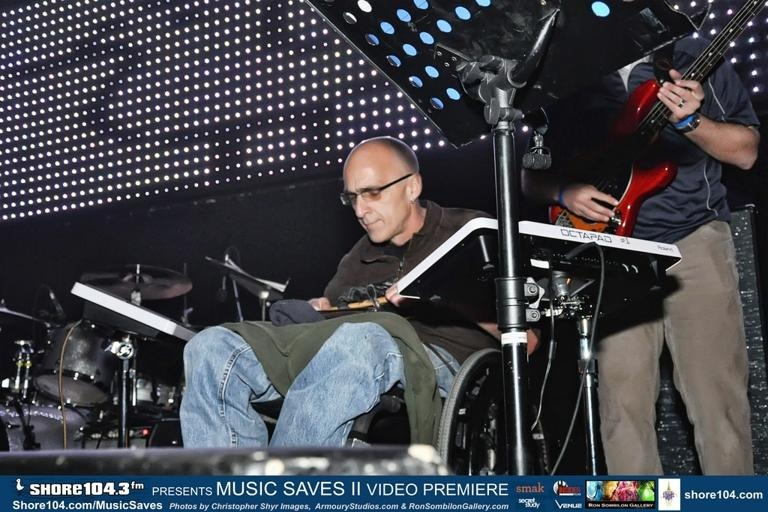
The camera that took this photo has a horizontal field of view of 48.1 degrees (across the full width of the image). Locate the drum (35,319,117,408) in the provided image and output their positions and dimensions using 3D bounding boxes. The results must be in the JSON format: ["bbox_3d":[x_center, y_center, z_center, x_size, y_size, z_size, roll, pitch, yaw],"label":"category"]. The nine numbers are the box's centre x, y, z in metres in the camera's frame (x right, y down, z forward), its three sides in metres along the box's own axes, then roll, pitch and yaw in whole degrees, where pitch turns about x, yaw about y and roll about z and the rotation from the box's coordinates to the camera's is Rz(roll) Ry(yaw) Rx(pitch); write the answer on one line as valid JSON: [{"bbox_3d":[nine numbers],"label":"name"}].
[{"bbox_3d":[-1.965,0.678,5.445,0.390,0.508,0.539,14,-20,-41],"label":"drum"}]

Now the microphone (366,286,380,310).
[{"bbox_3d":[-0.048,0.180,3.856,0.035,0.131,0.038,34,-64,-31],"label":"microphone"}]
